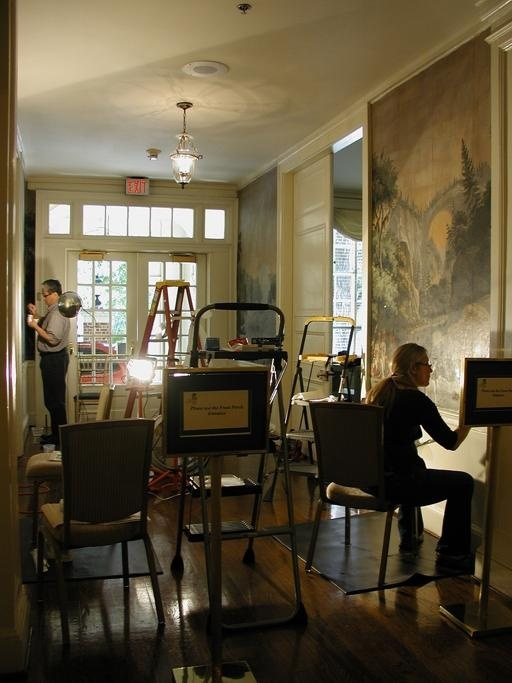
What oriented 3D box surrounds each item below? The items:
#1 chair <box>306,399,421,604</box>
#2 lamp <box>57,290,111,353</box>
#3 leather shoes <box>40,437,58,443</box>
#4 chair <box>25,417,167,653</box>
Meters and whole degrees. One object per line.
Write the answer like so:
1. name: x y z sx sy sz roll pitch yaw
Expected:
1. chair: 0.481 0.720 2.746 0.523 0.869 0.366 0 -1 17
2. lamp: -1.800 -0.154 5.964 0.464 0.748 0.299 9 20 10
3. leather shoes: -2.213 1.042 6.027 0.091 0.046 0.124 1 2 -3
4. chair: -0.648 0.704 2.328 0.407 0.840 0.466 -1 5 -33
